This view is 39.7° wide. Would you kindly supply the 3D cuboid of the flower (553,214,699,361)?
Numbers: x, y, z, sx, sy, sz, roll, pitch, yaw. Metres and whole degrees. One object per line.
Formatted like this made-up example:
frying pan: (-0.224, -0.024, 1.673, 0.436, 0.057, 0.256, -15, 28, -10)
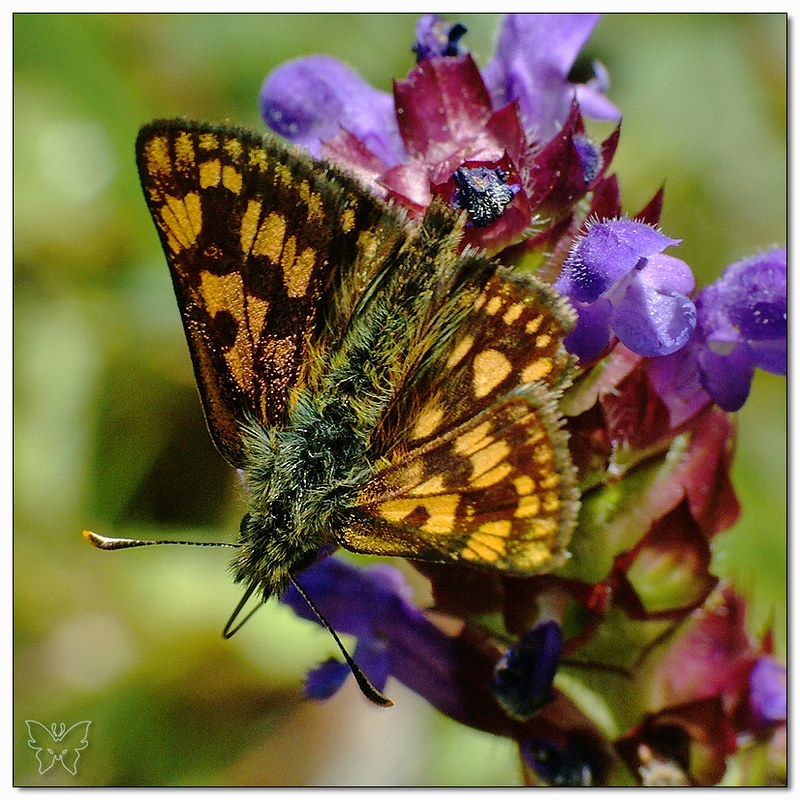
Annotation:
flower: (0.279, -0.163, 1.398, 0.172, 0.072, 0.155, 27, -4, -21)
